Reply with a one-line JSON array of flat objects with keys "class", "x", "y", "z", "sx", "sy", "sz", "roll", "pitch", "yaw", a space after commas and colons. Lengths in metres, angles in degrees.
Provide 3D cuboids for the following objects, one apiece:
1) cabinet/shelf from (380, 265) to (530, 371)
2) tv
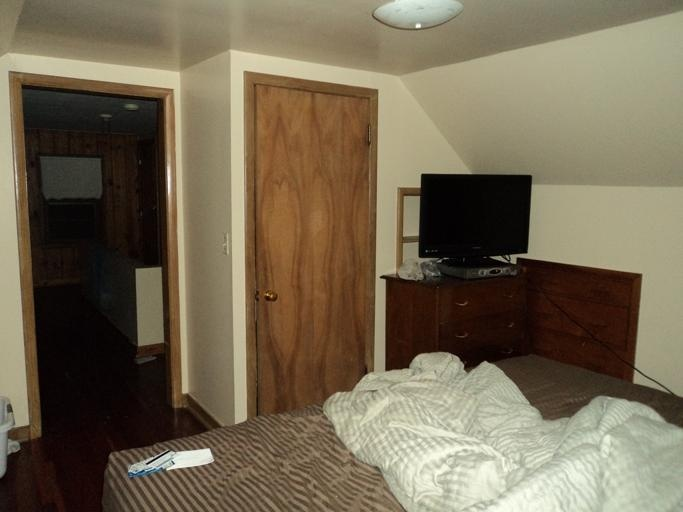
[{"class": "cabinet/shelf", "x": 0.914, "y": 0.576, "z": 4.241, "sx": 0.932, "sy": 0.896, "sz": 0.563, "roll": -8, "pitch": 10, "yaw": -35}, {"class": "tv", "x": 0.997, "y": -0.279, "z": 4.063, "sx": 0.691, "sy": 0.504, "sz": 0.075, "roll": -4, "pitch": 13, "yaw": -17}]
